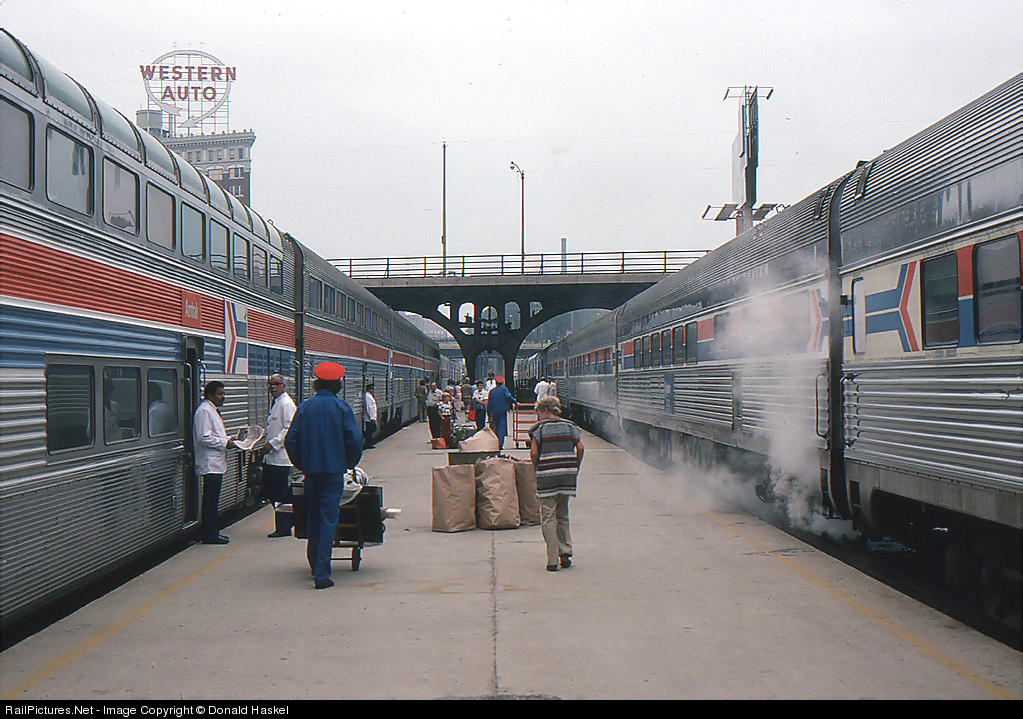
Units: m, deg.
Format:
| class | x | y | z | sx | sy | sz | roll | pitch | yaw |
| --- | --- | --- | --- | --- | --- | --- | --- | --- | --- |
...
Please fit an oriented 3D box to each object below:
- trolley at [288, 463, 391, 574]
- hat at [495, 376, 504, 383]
| class | x | y | z | sx | sy | sz | roll | pitch | yaw |
| --- | --- | --- | --- | --- | --- | --- | --- | --- | --- |
| trolley | -1.858 | 1.758 | 9.500 | 0.682 | 0.941 | 1.285 | 15 | -14 | -18 |
| hat | -0.272 | 0.506 | 21.771 | 0.143 | 0.205 | 0.203 | 6 | -45 | -7 |
